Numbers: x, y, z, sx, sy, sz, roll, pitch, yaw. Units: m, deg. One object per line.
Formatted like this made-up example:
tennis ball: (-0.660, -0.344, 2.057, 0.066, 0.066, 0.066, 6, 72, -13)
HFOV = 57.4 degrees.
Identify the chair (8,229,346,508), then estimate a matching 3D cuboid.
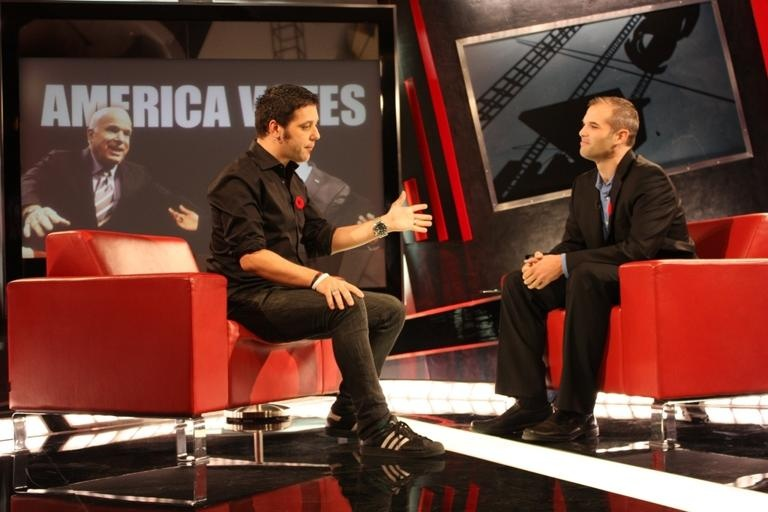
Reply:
chair: (-1.021, 0.426, 3.545, 1.193, 1.290, 1.493, -2, -3, 23)

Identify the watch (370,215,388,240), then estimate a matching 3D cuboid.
watch: (-0.020, -0.138, 3.591, 0.076, 0.101, 0.101, -16, 14, -8)

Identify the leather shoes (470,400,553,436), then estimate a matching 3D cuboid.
leather shoes: (0.666, 0.822, 3.592, 0.461, 0.162, 0.147, -1, 0, -11)

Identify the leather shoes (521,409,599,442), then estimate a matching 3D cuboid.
leather shoes: (0.869, 0.823, 3.436, 0.368, 0.146, 0.145, 1, -6, -15)

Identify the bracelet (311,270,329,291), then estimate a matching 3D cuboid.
bracelet: (-0.298, 0.116, 3.224, 0.034, 0.083, 0.064, 35, -5, -8)

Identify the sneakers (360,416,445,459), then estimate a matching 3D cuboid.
sneakers: (0.075, 0.825, 3.174, 0.413, 0.167, 0.146, 0, -4, 2)
